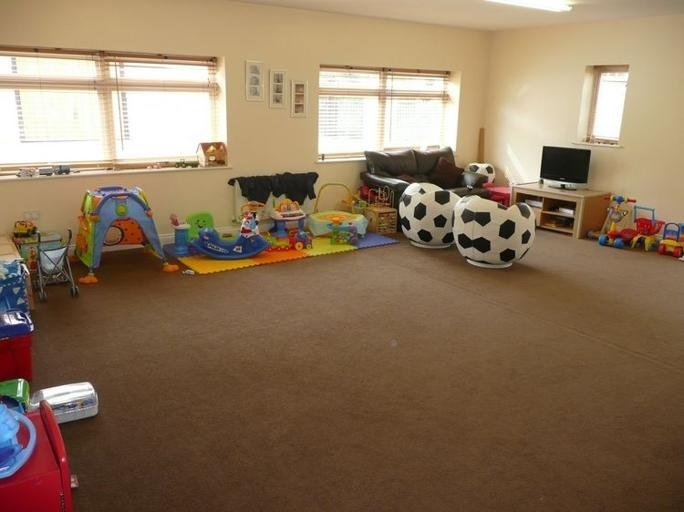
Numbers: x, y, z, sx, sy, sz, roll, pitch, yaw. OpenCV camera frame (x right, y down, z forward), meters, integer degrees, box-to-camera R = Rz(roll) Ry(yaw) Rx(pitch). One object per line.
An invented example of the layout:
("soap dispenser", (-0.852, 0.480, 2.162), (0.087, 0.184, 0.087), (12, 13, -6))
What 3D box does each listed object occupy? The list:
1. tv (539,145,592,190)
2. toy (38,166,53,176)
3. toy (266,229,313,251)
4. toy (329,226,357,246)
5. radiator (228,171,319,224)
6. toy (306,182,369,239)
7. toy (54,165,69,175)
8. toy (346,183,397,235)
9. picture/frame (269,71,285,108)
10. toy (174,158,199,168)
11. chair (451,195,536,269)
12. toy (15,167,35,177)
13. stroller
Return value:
("tv", (3.465, -1.364, 7.426), (0.161, 0.564, 0.629), (-10, 17, -39))
("toy", (-3.402, -0.972, 5.547), (0.161, 0.076, 0.130), (-12, 21, -34))
("toy", (-0.687, -0.209, 6.348), (0.493, 0.185, 0.287), (-5, 24, -9))
("toy", (0.030, -0.291, 6.448), (0.317, 0.235, 0.252), (2, 17, -3))
("radiator", (-0.943, -0.912, 6.898), (1.340, 0.540, 0.235), (-10, 19, -30))
("toy", (-0.090, -0.616, 7.018), (0.832, 0.757, 0.851), (1, 11, -6))
("toy", (-3.260, -1.010, 5.620), (0.171, 0.103, 0.093), (-9, 19, -29))
("toy", (0.384, -0.732, 7.338), (0.513, 0.908, 0.838), (-5, 20, -29))
("picture/frame", (-0.900, -2.322, 6.713), (0.245, 0.468, 0.038), (-13, 21, -37))
("toy", (-2.044, -1.229, 6.370), (0.327, 0.100, 0.187), (-5, 18, -19))
("chair", (1.844, -0.369, 5.745), (0.809, 0.729, 0.832), (8, 20, 29))
("toy", (-3.593, -0.946, 5.472), (0.230, 0.086, 0.215), (-2, 18, -8))
("stroller", (-3.005, 0.099, 5.037), (0.400, 0.774, 0.786), (-4, 26, -31))
